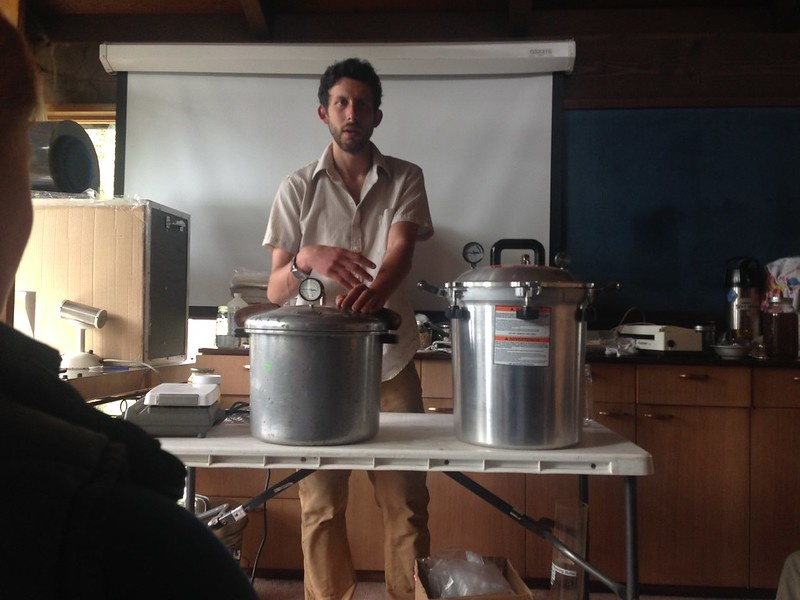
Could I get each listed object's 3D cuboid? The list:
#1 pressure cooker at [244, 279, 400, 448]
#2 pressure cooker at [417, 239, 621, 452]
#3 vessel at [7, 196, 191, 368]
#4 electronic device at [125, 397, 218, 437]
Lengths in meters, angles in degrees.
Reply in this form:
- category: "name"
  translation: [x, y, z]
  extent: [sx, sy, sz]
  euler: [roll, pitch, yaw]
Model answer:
- category: "pressure cooker"
  translation: [-0.281, 0.222, 3.062]
  extent: [0.558, 0.532, 0.450]
  euler: [1, -6, -1]
- category: "pressure cooker"
  translation: [0.426, 0.134, 3.169]
  extent: [0.753, 0.761, 0.618]
  euler: [0, -2, 3]
- category: "vessel"
  translation: [-1.322, -0.107, 4.094]
  extent: [0.861, 0.943, 0.679]
  euler: [0, -4, 3]
- category: "electronic device"
  translation: [-0.822, 0.437, 3.046]
  extent: [0.217, 0.093, 0.226]
  euler: [1, 0, -3]
